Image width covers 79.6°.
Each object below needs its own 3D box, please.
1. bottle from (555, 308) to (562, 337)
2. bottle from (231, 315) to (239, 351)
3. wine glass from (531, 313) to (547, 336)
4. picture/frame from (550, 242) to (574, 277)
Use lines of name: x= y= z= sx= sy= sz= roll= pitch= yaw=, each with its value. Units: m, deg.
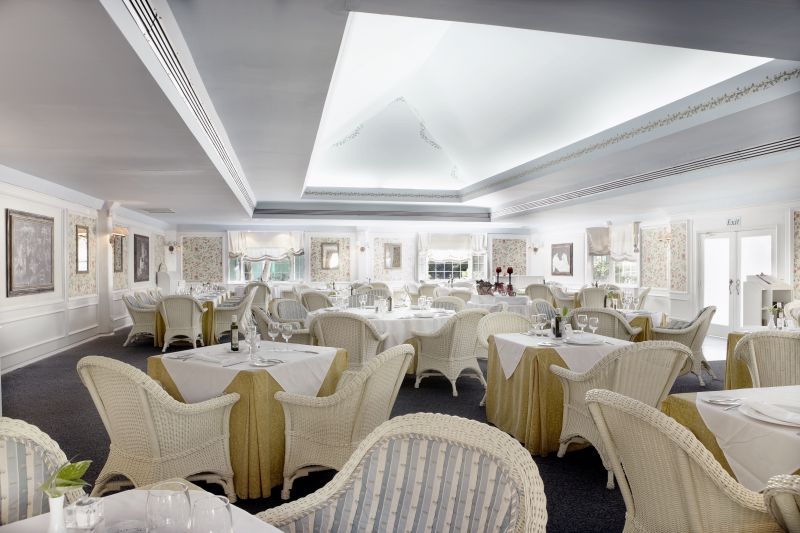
bottle: x=1.521 y=0.578 z=4.625 sx=0.077 sy=0.214 sz=0.068 roll=1 pitch=1 yaw=12
bottle: x=-1.424 y=0.585 z=4.198 sx=0.066 sy=0.291 sz=0.300 roll=0 pitch=1 yaw=-17
wine glass: x=1.403 y=0.584 z=4.860 sx=0.144 sy=0.202 sz=0.224 roll=1 pitch=0 yaw=13
picture/frame: x=5.314 y=-0.247 z=15.778 sx=0.117 sy=1.199 sz=1.067 roll=0 pitch=2 yaw=-27
